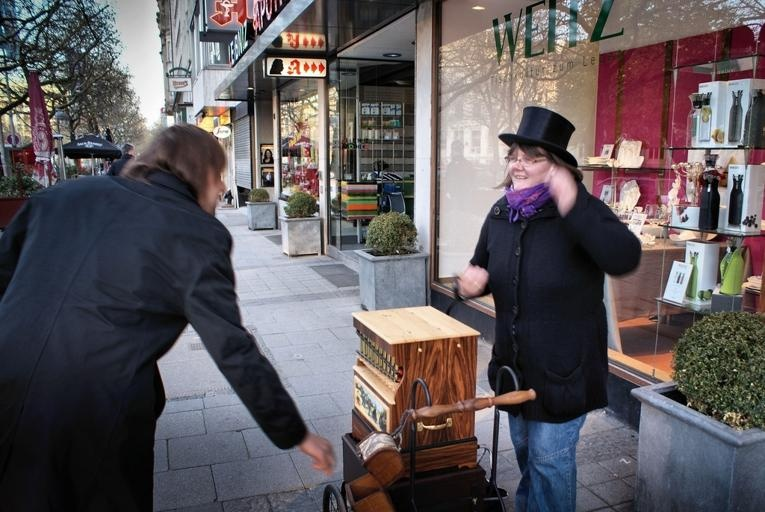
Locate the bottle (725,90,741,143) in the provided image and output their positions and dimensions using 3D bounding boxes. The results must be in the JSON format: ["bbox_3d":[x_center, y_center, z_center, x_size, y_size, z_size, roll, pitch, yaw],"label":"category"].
[{"bbox_3d":[2.636,-1.031,3.648,0.042,0.378,0.119,-5,12,-23],"label":"bottle"}]

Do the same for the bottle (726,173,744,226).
[{"bbox_3d":[2.648,-0.414,3.655,0.017,0.388,0.111,-5,12,-20],"label":"bottle"}]

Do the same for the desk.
[{"bbox_3d":[2.231,0.210,4.027,0.421,0.730,0.773,-2,7,-16],"label":"desk"}]

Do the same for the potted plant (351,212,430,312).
[{"bbox_3d":[0.173,0.131,7.257,1.040,1.470,0.603,-1,11,-3],"label":"potted plant"}]

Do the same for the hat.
[{"bbox_3d":[0.874,-0.649,2.623,0.390,0.156,0.337,26,1,-23],"label":"hat"}]
